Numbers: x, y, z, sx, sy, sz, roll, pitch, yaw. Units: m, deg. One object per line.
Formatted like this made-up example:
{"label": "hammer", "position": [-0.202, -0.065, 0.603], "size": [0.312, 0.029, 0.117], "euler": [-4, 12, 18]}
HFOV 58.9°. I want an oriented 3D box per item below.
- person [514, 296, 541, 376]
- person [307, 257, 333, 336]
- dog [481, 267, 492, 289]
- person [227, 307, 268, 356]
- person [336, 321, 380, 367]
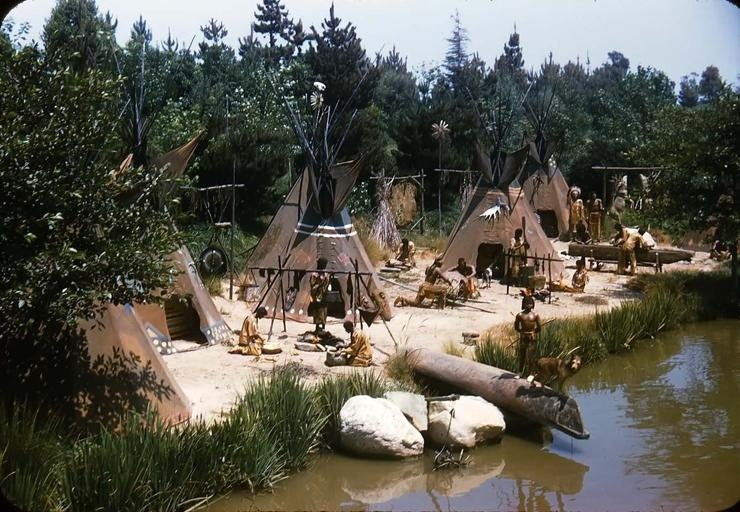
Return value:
{"label": "person", "position": [2.672, 1.324, 11.080], "size": [0.395, 1.499, 0.442], "euler": [-2, 21, 4]}
{"label": "person", "position": [-1.023, 0.807, 13.397], "size": [0.441, 1.576, 0.442], "euler": [3, 0, -21]}
{"label": "dog", "position": [3.485, 0.619, 19.314], "size": [0.280, 0.505, 1.016], "euler": [5, 14, 10]}
{"label": "person", "position": [-2.310, 1.498, 12.630], "size": [0.611, 0.931, 0.842], "euler": [0, 4, -15]}
{"label": "person", "position": [-0.195, 1.554, 12.128], "size": [0.628, 0.998, 0.714], "euler": [0, 2, 34]}
